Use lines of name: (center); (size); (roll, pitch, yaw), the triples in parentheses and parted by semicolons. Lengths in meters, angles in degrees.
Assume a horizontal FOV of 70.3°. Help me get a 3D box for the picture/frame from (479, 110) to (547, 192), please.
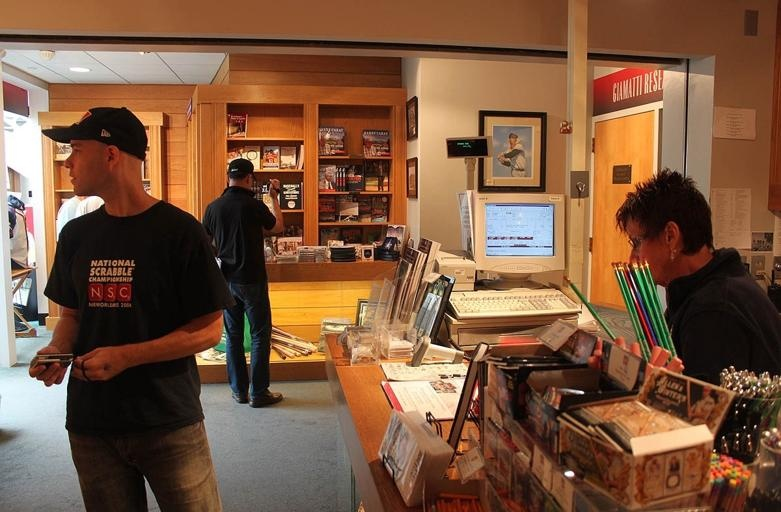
picture/frame: (1.235, -1.117, 5.739); (0.966, 1.061, 0.076); (0, 1, -8)

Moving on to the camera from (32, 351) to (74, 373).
camera: (-1.284, 0.398, 2.135); (0.153, 0.050, 0.086); (-1, 8, -11)

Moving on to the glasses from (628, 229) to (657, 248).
glasses: (0.965, -0.064, 2.172); (0.057, 0.049, 0.063); (-2, -11, 3)

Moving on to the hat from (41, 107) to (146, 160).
hat: (-1.210, -0.524, 2.290); (0.381, 0.174, 0.231); (11, -6, -32)

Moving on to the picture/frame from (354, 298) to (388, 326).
picture/frame: (-0.111, 0.342, 3.333); (0.016, 0.152, 0.214); (13, -5, -39)

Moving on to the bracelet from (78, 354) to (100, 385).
bracelet: (-1.126, 0.430, 2.102); (0.040, 0.097, 0.074); (-17, 35, -41)

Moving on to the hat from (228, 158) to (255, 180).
hat: (-1.292, -0.766, 4.836); (0.160, 0.121, 0.217); (7, 23, 11)

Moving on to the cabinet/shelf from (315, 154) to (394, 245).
cabinet/shelf: (-0.451, -0.729, 6.660); (1.131, 1.216, 0.374); (1, 5, -11)
